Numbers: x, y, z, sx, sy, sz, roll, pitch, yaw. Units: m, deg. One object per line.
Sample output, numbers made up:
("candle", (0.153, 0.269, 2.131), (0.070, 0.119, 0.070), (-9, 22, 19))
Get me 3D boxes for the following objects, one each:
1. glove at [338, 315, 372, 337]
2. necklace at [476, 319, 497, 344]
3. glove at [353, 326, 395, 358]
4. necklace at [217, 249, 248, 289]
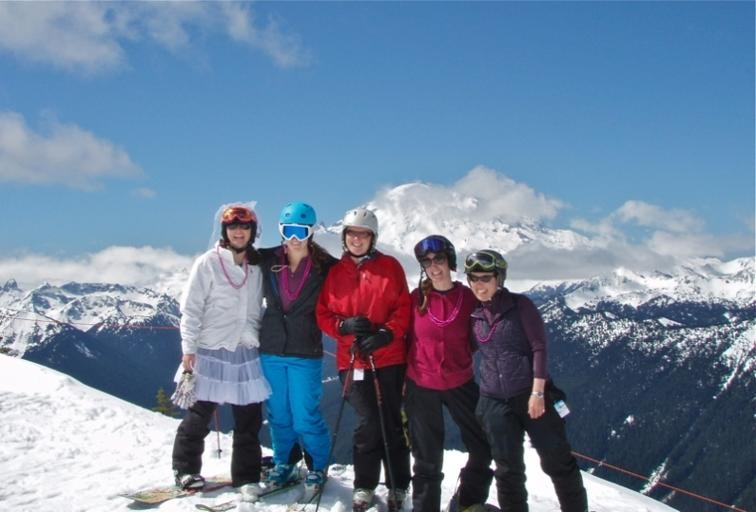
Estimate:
("glove", (-0.500, 1.499, 13.331), (0.554, 0.406, 0.235), (-2, 36, 31))
("necklace", (2.279, 1.629, 13.196), (0.383, 0.501, 0.134), (1, -12, 22))
("glove", (-0.077, 1.860, 13.272), (0.828, 0.575, 0.331), (-3, 11, 0))
("necklace", (-3.263, 0.295, 13.843), (0.632, 0.885, 0.147), (-16, 3, -42))
